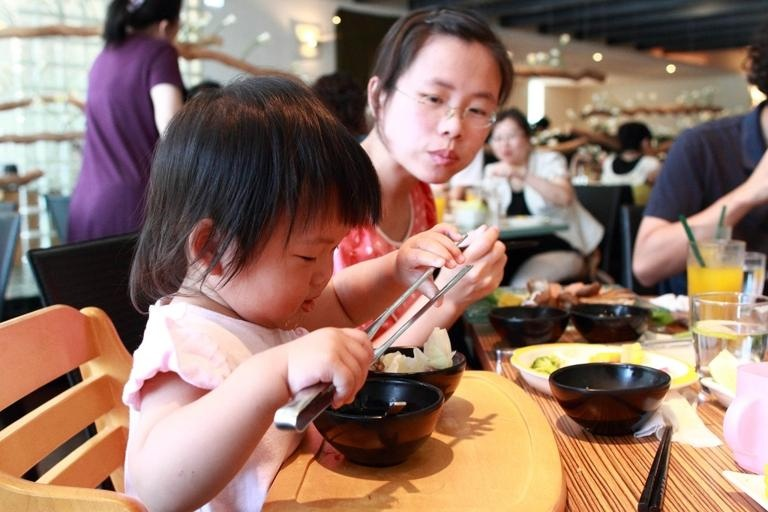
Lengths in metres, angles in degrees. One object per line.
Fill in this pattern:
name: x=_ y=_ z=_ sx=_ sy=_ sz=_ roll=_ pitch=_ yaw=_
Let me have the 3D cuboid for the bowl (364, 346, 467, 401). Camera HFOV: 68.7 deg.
bowl: x=0.084 y=0.244 z=1.177 sx=0.137 sy=0.055 sz=0.131 roll=1 pitch=1 yaw=0

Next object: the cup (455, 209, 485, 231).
cup: x=0.557 y=-0.235 z=3.563 sx=0.202 sy=0.130 sz=0.197 roll=-1 pitch=6 yaw=0

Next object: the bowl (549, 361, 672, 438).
bowl: x=0.457 y=0.292 z=1.143 sx=0.236 sy=0.099 sz=0.235 roll=-5 pitch=4 yaw=0

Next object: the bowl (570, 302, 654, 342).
bowl: x=0.675 y=0.189 z=1.542 sx=0.157 sy=0.058 sz=0.152 roll=-5 pitch=1 yaw=0

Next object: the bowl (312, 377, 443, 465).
bowl: x=-0.006 y=0.322 z=1.082 sx=0.254 sy=0.105 sz=0.249 roll=-3 pitch=5 yaw=0

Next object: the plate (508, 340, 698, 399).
plate: x=0.570 y=0.256 z=1.253 sx=0.221 sy=0.047 sz=0.211 roll=5 pitch=13 yaw=-6
